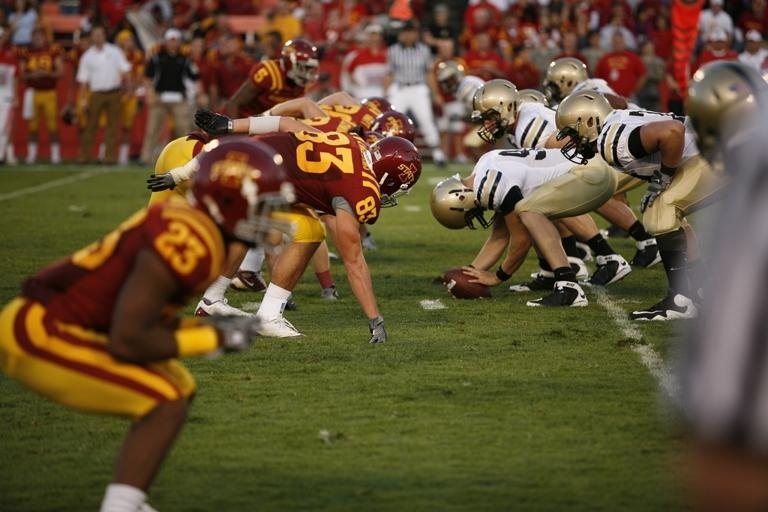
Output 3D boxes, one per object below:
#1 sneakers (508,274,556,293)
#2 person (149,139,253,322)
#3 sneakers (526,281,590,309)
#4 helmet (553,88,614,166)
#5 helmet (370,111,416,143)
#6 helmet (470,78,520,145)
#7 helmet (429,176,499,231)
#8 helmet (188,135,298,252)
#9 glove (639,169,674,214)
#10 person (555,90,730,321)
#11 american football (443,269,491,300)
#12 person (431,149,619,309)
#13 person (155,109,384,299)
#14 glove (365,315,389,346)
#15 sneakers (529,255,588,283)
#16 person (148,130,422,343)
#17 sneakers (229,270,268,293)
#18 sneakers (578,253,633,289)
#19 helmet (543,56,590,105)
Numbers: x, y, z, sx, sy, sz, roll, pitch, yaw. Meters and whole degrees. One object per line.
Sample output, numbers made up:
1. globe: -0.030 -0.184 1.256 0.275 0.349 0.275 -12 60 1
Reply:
1. sneakers: 1.084 0.197 5.959 0.360 0.131 0.117 -1 3 16
2. person: -1.001 -0.159 5.354 0.365 1.085 0.841 0 22 -31
3. sneakers: 1.172 0.258 5.500 0.475 0.187 0.155 1 4 6
4. helmet: 1.219 -0.840 5.339 0.456 0.425 0.372 -15 15 18
5. helmet: 0.074 -0.900 5.899 0.314 0.230 0.242 9 -24 6
6. helmet: 0.795 -1.043 5.970 0.338 0.453 0.268 10 13 5
7. helmet: 0.548 -0.333 5.793 0.450 0.326 0.315 17 -3 2
8. helmet: -0.464 -0.237 3.041 0.428 0.350 0.303 24 29 -11
9. glove: 1.659 -0.411 5.087 0.096 0.093 0.323 44 52 18
10. person: 1.738 -0.336 5.313 1.153 1.452 0.881 -4 2 35
11. american football: 0.551 0.205 5.622 0.274 0.152 0.181 26 10 28
12. person: 0.992 -0.205 5.797 1.347 0.985 0.795 0 3 15
13. person: -0.656 -0.332 4.842 1.480 0.786 0.905 14 19 -4
14. glove: -0.030 0.417 4.694 0.107 0.156 0.071 7 13 -5
15. sneakers: 1.290 0.101 5.977 0.489 0.203 0.164 5 8 -1
16. person: -0.452 -0.112 4.787 1.564 0.836 1.142 -5 34 -26
17. sneakers: -0.986 0.180 5.808 0.326 0.100 0.150 0 -11 -17
18. sneakers: 1.594 0.107 5.914 0.441 0.201 0.152 -12 11 41
19. helmet: 1.483 -1.501 7.016 0.469 0.400 0.366 13 26 23
